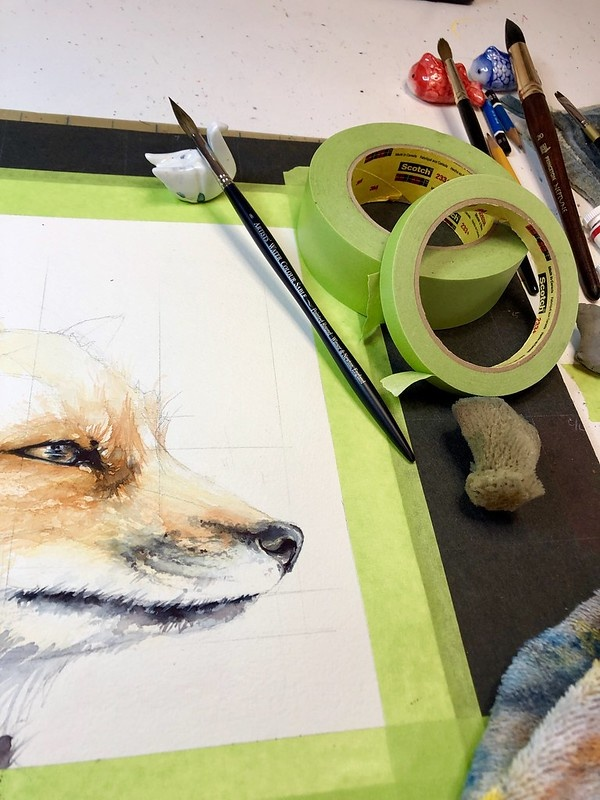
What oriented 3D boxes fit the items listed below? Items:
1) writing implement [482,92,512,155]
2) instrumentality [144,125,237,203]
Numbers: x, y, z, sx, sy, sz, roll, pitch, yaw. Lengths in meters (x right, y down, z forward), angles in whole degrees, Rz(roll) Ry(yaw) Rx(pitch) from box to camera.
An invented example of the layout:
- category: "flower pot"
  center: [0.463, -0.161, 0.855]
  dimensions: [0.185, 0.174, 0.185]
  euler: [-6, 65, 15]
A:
- category: "writing implement"
  center: [0.243, -0.342, 0.938]
  dimensions: [0.015, 0.021, 0.094]
  euler: [11, 53, -58]
- category: "instrumentality"
  center: [-0.111, -0.236, 0.776]
  dimensions: [0.101, 0.072, 0.059]
  euler: [-14, 70, -7]
